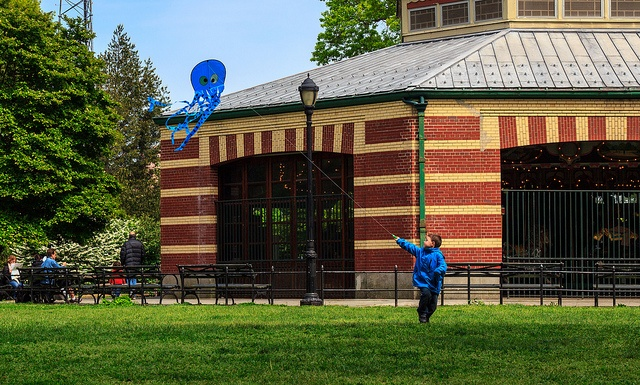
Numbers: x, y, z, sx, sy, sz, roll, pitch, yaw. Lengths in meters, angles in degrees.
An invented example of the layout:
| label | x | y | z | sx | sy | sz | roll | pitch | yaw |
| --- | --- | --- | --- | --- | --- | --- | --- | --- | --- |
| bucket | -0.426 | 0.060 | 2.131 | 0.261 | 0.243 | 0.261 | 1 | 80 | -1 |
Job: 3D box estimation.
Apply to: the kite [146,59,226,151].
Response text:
| label | x | y | z | sx | sy | sz | roll | pitch | yaw |
| --- | --- | --- | --- | --- | --- | --- | --- | --- | --- |
| kite | -5.060 | -3.569 | 53.591 | 2.315 | 3.656 | 0.885 | -3 | 14 | -5 |

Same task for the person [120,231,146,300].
| label | x | y | z | sx | sy | sz | roll | pitch | yaw |
| --- | --- | --- | --- | --- | --- | --- | --- | --- | --- |
| person | -7.652 | 2.972 | 53.990 | 1.148 | 2.683 | 1.161 | -1 | -1 | 17 |
